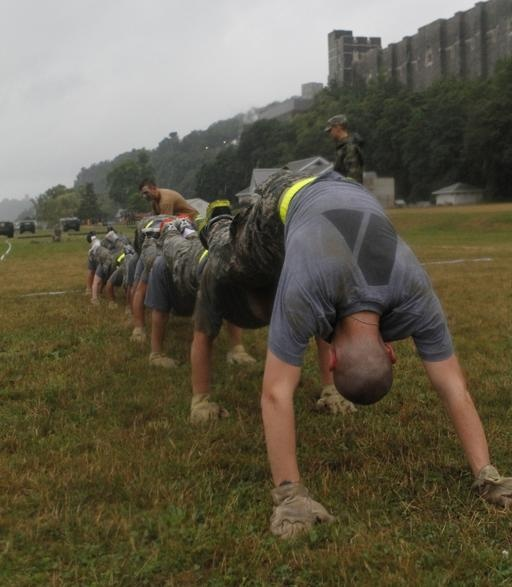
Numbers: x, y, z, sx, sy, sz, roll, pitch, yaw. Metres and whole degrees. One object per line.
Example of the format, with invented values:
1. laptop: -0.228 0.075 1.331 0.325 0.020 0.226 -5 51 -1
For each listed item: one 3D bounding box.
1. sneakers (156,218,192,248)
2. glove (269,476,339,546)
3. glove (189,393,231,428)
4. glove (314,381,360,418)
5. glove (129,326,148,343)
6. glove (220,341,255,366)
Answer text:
1. sneakers: -0.844 -0.705 6.182 0.191 0.308 0.616 11 20 8
2. glove: 0.210 1.028 2.581 0.297 0.156 0.311 -3 13 9
3. glove: -0.402 0.935 4.537 0.164 0.146 0.259 -8 8 -25
4. glove: 0.649 0.907 4.679 0.217 0.099 0.338 -14 18 -8
5. glove: -1.644 0.559 7.781 0.111 0.184 0.355 0 1 -21
6. glove: -0.198 0.707 6.525 0.144 0.233 0.421 -2 -2 -24
